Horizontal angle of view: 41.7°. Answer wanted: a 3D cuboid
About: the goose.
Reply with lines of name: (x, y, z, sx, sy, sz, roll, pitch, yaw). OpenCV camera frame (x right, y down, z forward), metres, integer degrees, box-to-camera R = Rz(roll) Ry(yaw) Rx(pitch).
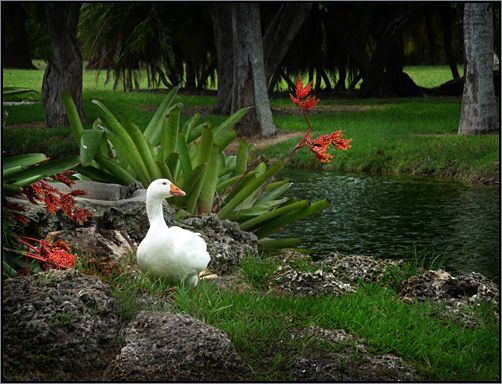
goose: (-0.844, 0.564, 7.416, 0.762, 1.193, 1.297, -4, -16, 15)
